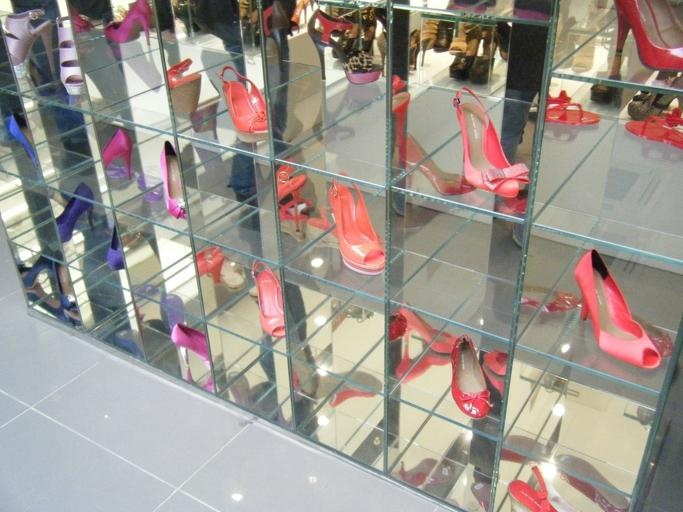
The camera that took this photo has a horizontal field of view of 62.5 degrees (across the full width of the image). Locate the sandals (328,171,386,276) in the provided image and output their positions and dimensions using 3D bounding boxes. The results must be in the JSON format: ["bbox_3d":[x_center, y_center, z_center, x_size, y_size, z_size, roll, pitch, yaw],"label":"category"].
[{"bbox_3d":[0.048,-0.104,2.098,0.135,0.149,0.399,-16,71,0],"label":"sandals"}]

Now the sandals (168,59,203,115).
[{"bbox_3d":[-0.535,-0.583,1.918,0.051,0.168,0.122,39,61,12],"label":"sandals"}]

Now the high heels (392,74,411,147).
[{"bbox_3d":[0.172,-0.440,1.683,0.079,0.214,0.063,1,-2,0],"label":"high heels"}]

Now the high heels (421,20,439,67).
[{"bbox_3d":[0.265,-0.643,1.712,0.051,0.145,0.042,19,37,24],"label":"high heels"}]

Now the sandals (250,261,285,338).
[{"bbox_3d":[-0.277,0.183,2.292,0.116,0.341,0.086,-16,-12,14],"label":"sandals"}]

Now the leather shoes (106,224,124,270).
[{"bbox_3d":[-0.995,-0.046,2.481,0.066,0.200,0.073,-1,3,2],"label":"leather shoes"}]

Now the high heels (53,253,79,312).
[{"bbox_3d":[-1.284,0.113,2.628,0.081,0.259,0.097,-19,1,0],"label":"high heels"}]

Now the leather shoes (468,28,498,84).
[{"bbox_3d":[0.436,-0.598,1.689,0.045,0.155,0.045,11,45,16],"label":"leather shoes"}]

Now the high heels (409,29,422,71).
[{"bbox_3d":[0.224,-0.635,1.725,0.036,0.098,0.029,4,21,-5],"label":"high heels"}]

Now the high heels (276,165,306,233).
[{"bbox_3d":[-0.169,-0.203,2.017,0.066,0.082,0.211,-16,70,-2],"label":"high heels"}]

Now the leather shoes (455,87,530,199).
[{"bbox_3d":[0.427,-0.284,1.660,0.154,0.082,0.397,-22,66,5],"label":"leather shoes"}]

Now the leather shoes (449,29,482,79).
[{"bbox_3d":[0.373,-0.605,1.698,0.086,0.168,0.064,13,35,16],"label":"leather shoes"}]

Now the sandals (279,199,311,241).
[{"bbox_3d":[-0.168,-0.141,2.061,0.173,0.173,0.070,5,53,-2],"label":"sandals"}]

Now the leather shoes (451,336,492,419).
[{"bbox_3d":[0.446,0.428,1.918,0.117,0.114,0.297,-7,62,12],"label":"leather shoes"}]

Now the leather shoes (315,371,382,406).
[{"bbox_3d":[0.032,0.508,2.198,0.320,0.108,0.132,-1,18,25],"label":"leather shoes"}]

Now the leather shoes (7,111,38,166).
[{"bbox_3d":[-1.380,-0.517,2.444,0.064,0.230,0.087,-9,14,30],"label":"leather shoes"}]

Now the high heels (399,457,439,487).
[{"bbox_3d":[0.292,0.808,2.111,0.132,0.081,0.051,5,-7,20],"label":"high heels"}]

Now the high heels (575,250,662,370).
[{"bbox_3d":[0.774,0.164,1.581,0.114,0.200,0.303,-27,42,-2],"label":"high heels"}]

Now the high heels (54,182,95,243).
[{"bbox_3d":[-1.174,-0.201,2.470,0.191,0.146,0.075,-40,50,13],"label":"high heels"}]
